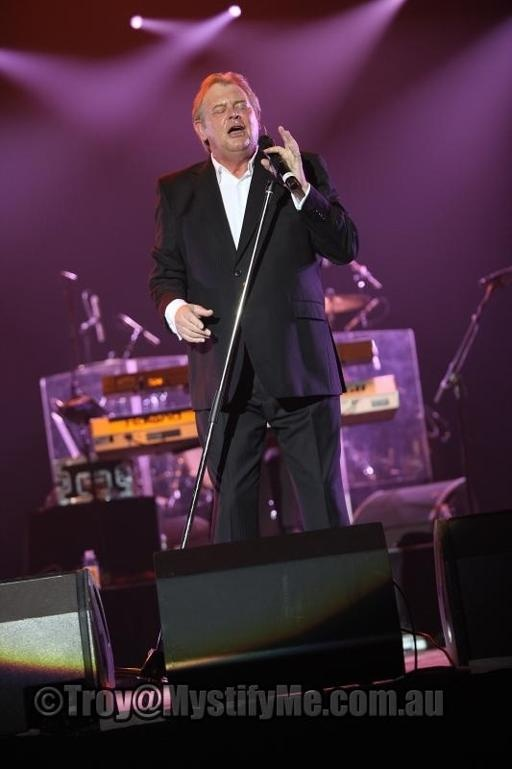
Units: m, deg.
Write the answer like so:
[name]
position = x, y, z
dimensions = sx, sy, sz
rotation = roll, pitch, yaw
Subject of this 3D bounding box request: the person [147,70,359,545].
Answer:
[person]
position = -0.010, -0.245, 1.752
dimensions = 0.550, 1.231, 0.432
rotation = -9, -7, 8

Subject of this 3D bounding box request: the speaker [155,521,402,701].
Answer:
[speaker]
position = 0.047, 0.387, 1.340
dimensions = 0.373, 0.236, 0.268
rotation = -11, -19, 0
